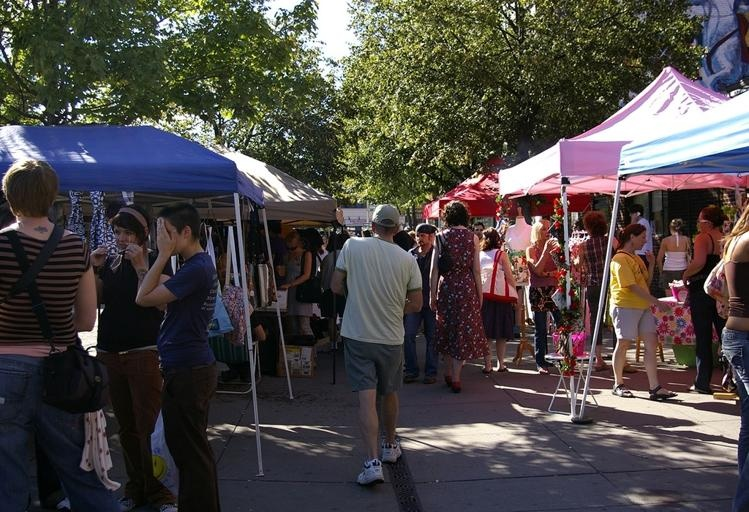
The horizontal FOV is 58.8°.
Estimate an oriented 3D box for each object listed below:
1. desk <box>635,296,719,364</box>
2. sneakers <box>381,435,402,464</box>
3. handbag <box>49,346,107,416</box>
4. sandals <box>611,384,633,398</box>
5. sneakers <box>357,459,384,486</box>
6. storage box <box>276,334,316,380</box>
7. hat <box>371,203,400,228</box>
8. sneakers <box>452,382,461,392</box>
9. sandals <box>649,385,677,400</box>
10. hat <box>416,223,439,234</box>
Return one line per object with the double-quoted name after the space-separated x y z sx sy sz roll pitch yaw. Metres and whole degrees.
4.968 1.132 10.040 1.279 0.922 1.281 -7 2 -28 "desk"
0.167 1.937 6.683 0.192 0.247 0.323 -1 5 2 "sneakers"
-2.061 0.876 4.637 0.265 0.431 0.430 -17 -27 6 "handbag"
3.218 1.747 8.611 0.118 0.113 0.246 1 -3 -28 "sandals"
-0.043 2.019 6.190 0.141 0.163 0.349 2 -11 -17 "sneakers"
-1.366 1.690 10.450 0.609 0.466 0.591 7 -17 -28 "storage box"
0.102 -0.392 6.564 0.262 0.226 0.321 -1 5 -1 "hat"
1.105 1.779 9.053 0.137 0.117 0.120 0 -3 -14 "sneakers"
3.624 1.716 8.396 0.338 0.154 0.161 -3 1 1 "sandals"
0.715 -0.365 9.755 0.204 0.156 0.275 6 19 21 "hat"
